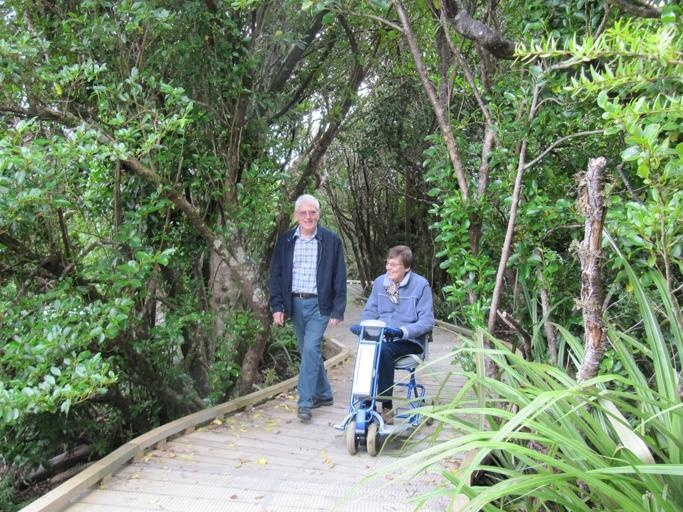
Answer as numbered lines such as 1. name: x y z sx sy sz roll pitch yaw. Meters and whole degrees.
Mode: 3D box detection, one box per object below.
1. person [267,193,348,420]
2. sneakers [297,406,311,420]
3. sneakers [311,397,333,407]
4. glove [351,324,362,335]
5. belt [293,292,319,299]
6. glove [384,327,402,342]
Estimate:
1. person: -0.339 0.494 5.808 0.750 2.167 0.528 0 4 -5
2. sneakers: -0.356 1.517 5.691 0.134 0.140 0.166 1 4 -2
3. sneakers: -0.199 1.537 6.226 0.221 0.123 0.082 7 -10 -36
4. glove: 0.120 0.643 5.003 0.088 0.056 0.104 -5 3 2
5. belt: -0.366 0.390 5.853 0.251 0.055 0.040 2 4 19
6. glove: 0.427 0.661 4.976 0.094 0.067 0.133 4 -5 21
